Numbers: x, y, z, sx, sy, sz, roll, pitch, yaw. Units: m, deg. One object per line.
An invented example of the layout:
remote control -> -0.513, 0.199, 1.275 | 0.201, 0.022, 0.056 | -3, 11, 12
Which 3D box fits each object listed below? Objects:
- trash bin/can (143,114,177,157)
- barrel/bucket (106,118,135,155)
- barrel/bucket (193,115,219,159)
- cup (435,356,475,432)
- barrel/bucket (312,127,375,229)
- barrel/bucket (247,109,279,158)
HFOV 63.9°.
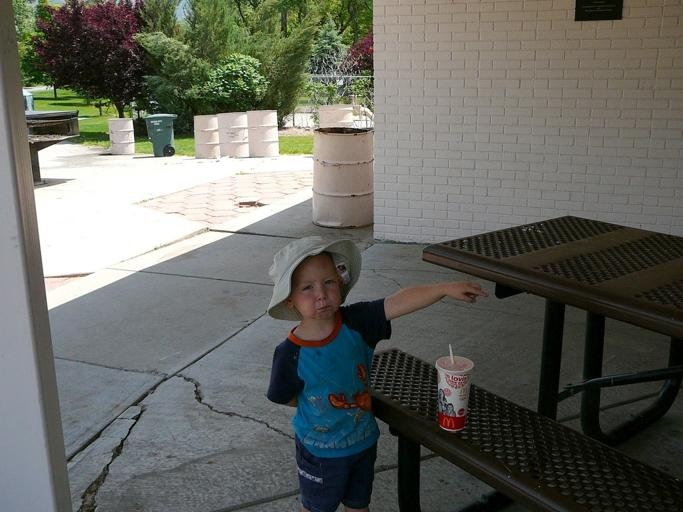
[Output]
trash bin/can -> -5.342, -3.510, 16.130 | 0.776, 1.203, 0.581 | 2, 20, 9
barrel/bucket -> -6.843, -3.666, 16.967 | 0.737, 1.077, 0.552 | -8, 21, -18
barrel/bucket -> -3.848, -3.340, 15.510 | 0.731, 1.187, 0.497 | -5, 21, -12
cup -> 0.388, 0.482, 1.937 | 0.114, 0.322, 0.147 | 3, 21, 10
barrel/bucket -> 0.009, -1.026, 7.509 | 0.806, 1.307, 0.345 | -1, 21, 0
barrel/bucket -> -2.207, -3.346, 15.207 | 0.787, 1.244, 0.444 | -5, 21, -11
